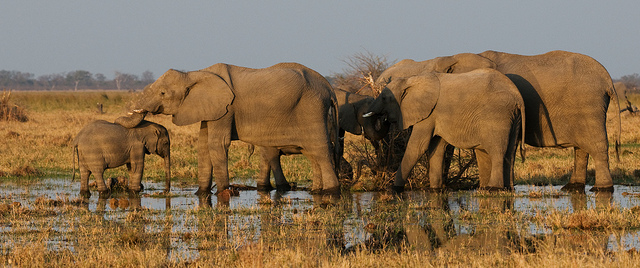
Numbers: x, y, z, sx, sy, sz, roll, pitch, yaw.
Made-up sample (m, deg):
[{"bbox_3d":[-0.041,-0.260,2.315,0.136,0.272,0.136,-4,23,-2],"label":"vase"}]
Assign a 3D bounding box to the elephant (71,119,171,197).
[{"bbox_3d":[-9.312,0.821,47.673,5.330,3.281,2.925,-1,3,-17],"label":"elephant"}]
